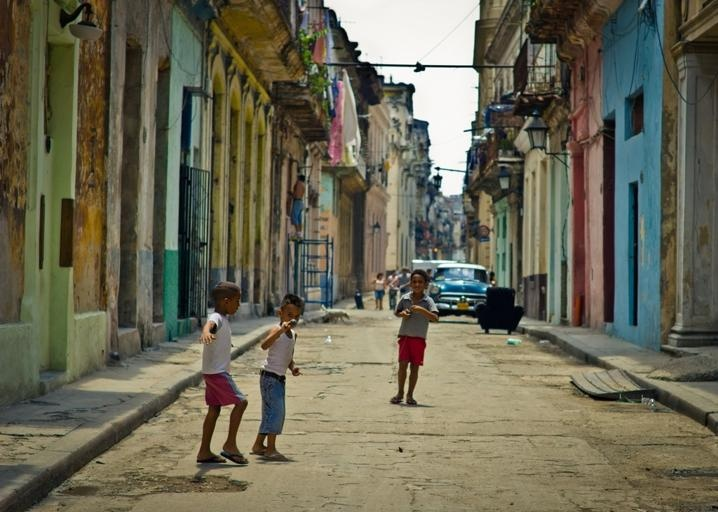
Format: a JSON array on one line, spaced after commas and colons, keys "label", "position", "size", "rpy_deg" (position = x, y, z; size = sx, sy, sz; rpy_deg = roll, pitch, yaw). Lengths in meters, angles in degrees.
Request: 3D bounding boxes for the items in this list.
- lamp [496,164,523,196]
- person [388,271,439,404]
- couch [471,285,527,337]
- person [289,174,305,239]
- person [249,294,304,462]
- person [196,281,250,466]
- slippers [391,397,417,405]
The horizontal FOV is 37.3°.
[{"label": "lamp", "position": [5.015, -2.547, 35.248], "size": [0.935, 1.284, 0.900], "rpy_deg": [1, 4, -5]}, {"label": "person", "position": [0.750, 1.101, 14.505], "size": [0.652, 1.788, 1.364], "rpy_deg": [-2, -3, 3]}, {"label": "couch", "position": [3.389, 1.263, 25.680], "size": [1.392, 1.185, 1.491], "rpy_deg": [8, 9, 35]}, {"label": "person", "position": [-1.798, -1.552, 31.415], "size": [0.437, 1.894, 1.519], "rpy_deg": [-2, -3, -4]}, {"label": "person", "position": [-0.876, 1.298, 11.439], "size": [0.527, 1.748, 0.654], "rpy_deg": [-1, -3, -20]}, {"label": "person", "position": [-1.473, 1.246, 11.331], "size": [0.531, 1.925, 0.943], "rpy_deg": [-2, -3, -8]}, {"label": "slippers", "position": [0.597, 1.931, 14.018], "size": [0.311, 0.105, 0.129], "rpy_deg": [4, -5, 26]}]
